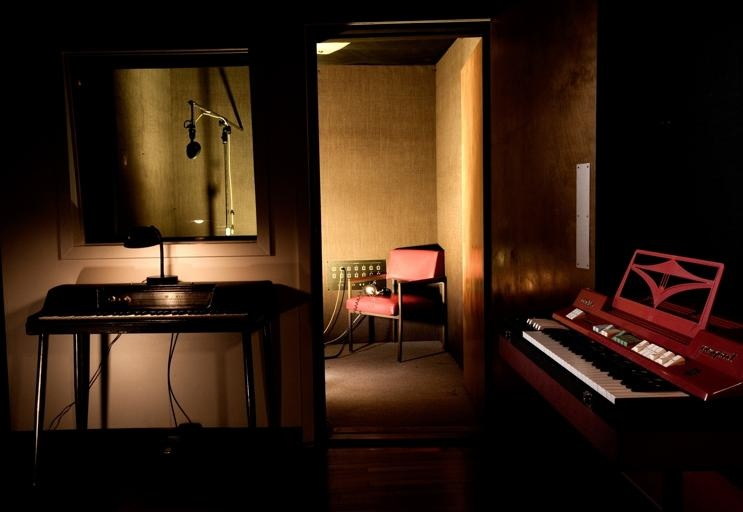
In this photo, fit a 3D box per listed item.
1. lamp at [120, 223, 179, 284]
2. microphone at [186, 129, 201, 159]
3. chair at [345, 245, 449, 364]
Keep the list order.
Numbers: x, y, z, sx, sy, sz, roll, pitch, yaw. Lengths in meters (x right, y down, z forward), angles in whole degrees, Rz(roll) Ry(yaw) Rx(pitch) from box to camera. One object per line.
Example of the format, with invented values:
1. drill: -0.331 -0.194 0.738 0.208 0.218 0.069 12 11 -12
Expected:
1. lamp: -1.323 -0.013 3.576 0.280 0.343 0.297 -3 5 -11
2. microphone: -1.349 -0.859 4.464 0.116 0.224 0.248 -4 5 -16
3. chair: 0.218 0.371 5.337 0.664 0.889 0.713 -2 1 -41
